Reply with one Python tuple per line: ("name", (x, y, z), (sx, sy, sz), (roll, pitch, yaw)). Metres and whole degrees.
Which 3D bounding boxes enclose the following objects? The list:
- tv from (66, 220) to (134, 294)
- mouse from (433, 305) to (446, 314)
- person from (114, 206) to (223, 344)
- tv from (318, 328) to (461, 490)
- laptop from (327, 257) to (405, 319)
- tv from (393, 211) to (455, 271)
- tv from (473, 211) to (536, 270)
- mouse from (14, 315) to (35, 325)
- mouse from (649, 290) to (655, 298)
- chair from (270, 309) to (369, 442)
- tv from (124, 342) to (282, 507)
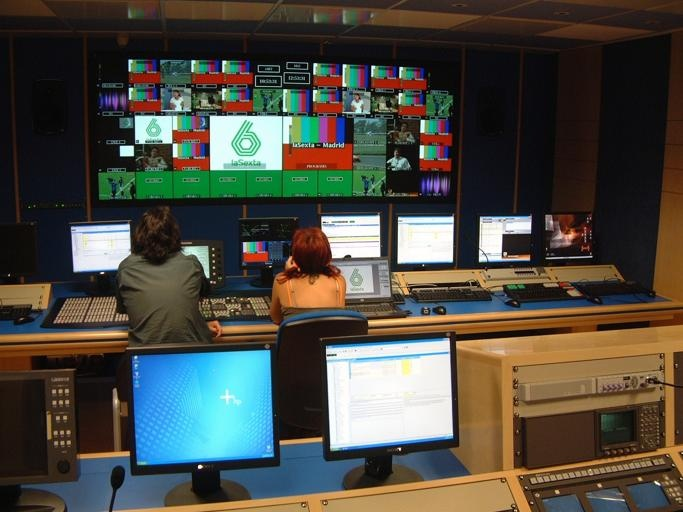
("tv", (-1.645, 0.004, 4.224), (0.534, 0.646, 0.229), (0, 3, -13))
("mouse", (0.657, 0.359, 4.092), (0.095, 0.045, 0.093), (-1, 7, -1))
("person", (-0.942, 0.129, 3.270), (0.481, 0.759, 0.368), (-4, 8, -19))
("tv", (0.184, 0.589, 2.355), (0.580, 0.585, 0.278), (0, -3, -8))
("laptop", (0.185, 0.205, 4.186), (0.443, 0.395, 0.315), (3, 0, -9))
("tv", (0.628, -0.118, 4.688), (0.482, 0.410, 0.064), (-1, 7, -8))
("tv", (1.254, -0.109, 4.772), (0.453, 0.395, 0.050), (-1, 6, -8))
("mouse", (-1.959, 0.392, 3.812), (0.073, 0.043, 0.130), (3, 8, 28))
("mouse", (2.260, 0.278, 4.509), (0.046, 0.059, 0.060), (2, 2, -34))
("chair", (-0.184, 0.569, 3.142), (0.546, 0.797, 0.572), (0, 7, -5))
("tv", (-0.516, 0.621, 2.281), (0.575, 0.580, 0.203), (-1, 0, -6))
